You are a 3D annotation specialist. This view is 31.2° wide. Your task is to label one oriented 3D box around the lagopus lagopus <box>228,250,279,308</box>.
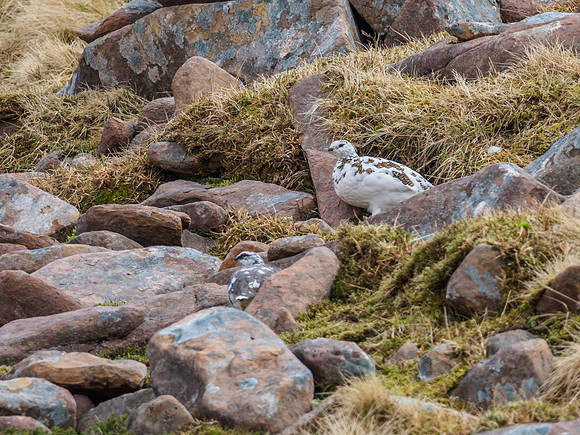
[{"bbox_3d":[-0.373,0.648,9.902,0.470,0.555,0.902,-1,11,3],"label":"lagopus lagopus"}]
